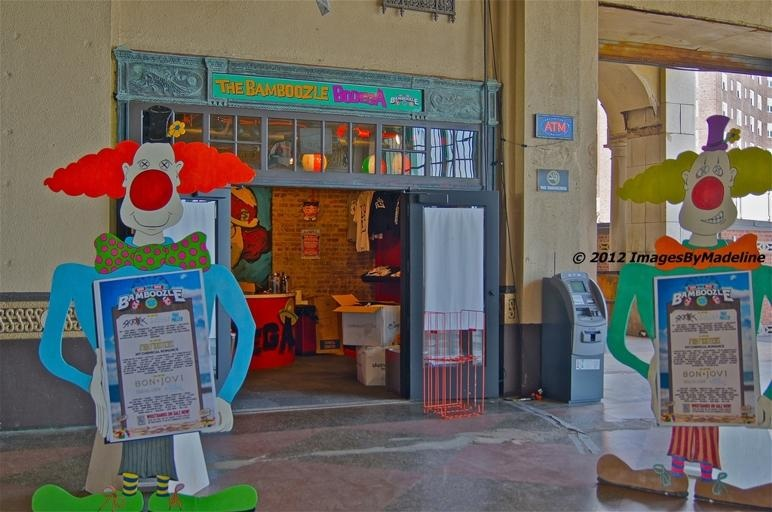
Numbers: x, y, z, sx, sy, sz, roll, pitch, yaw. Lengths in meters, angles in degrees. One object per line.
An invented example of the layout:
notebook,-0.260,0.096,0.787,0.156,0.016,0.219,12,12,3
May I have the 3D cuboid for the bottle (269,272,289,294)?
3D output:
bottle,-1.658,0.410,14.581,0.298,0.313,0.294,1,-5,-12
